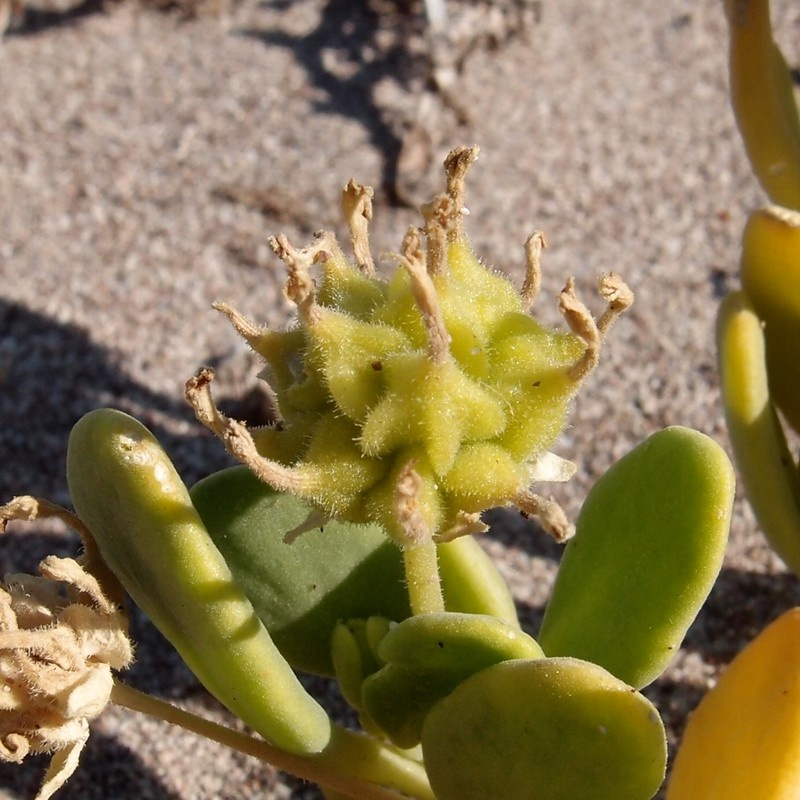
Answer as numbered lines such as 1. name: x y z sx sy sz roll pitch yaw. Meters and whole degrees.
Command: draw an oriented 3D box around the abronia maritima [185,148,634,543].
1. abronia maritima: -0.014 0.006 1.432 0.381 0.311 0.434 -28 38 -19
